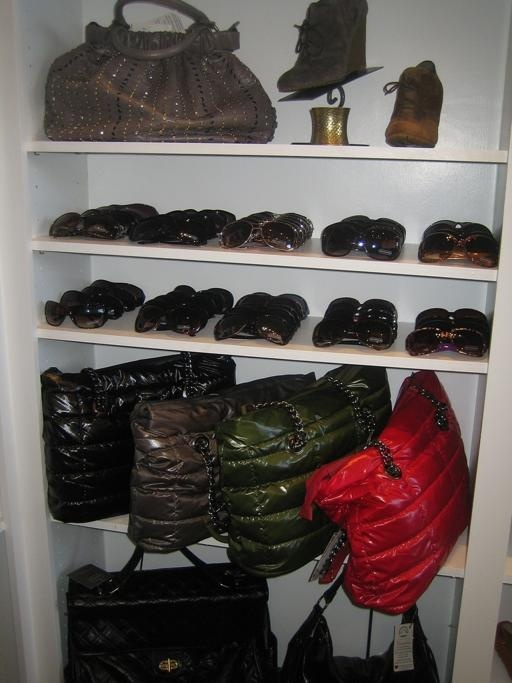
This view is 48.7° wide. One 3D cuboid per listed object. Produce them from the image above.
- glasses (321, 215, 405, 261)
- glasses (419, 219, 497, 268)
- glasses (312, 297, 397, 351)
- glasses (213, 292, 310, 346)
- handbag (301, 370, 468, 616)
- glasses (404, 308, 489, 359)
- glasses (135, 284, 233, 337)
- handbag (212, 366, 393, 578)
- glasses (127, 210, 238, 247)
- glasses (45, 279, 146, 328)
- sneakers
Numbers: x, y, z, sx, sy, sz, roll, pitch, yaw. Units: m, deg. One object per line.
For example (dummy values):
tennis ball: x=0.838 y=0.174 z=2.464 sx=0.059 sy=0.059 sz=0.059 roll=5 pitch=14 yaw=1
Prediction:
glasses: x=0.213 y=-0.202 z=1.096 sx=0.140 sy=0.070 sz=0.215 roll=5 pitch=15 yaw=15
glasses: x=0.375 y=-0.179 z=1.035 sx=0.130 sy=0.070 sz=0.160 roll=7 pitch=16 yaw=21
glasses: x=0.200 y=-0.064 z=1.121 sx=0.131 sy=0.045 sz=0.126 roll=2 pitch=29 yaw=20
glasses: x=0.016 y=-0.057 z=1.177 sx=0.118 sy=0.037 sz=0.145 roll=2 pitch=23 yaw=14
handbag: x=0.264 y=0.299 z=1.072 sx=0.218 sy=0.337 sz=0.369 roll=10 pitch=17 yaw=32
glasses: x=0.374 y=-0.019 z=1.088 sx=0.142 sy=0.068 sz=0.175 roll=7 pitch=16 yaw=22
glasses: x=-0.141 y=-0.088 z=1.220 sx=0.111 sy=0.043 sz=0.169 roll=9 pitch=23 yaw=20
handbag: x=0.094 y=0.254 z=1.171 sx=0.207 sy=0.335 sz=0.498 roll=17 pitch=20 yaw=39
glasses: x=-0.137 y=-0.228 z=1.154 sx=0.119 sy=0.042 sz=0.152 roll=10 pitch=10 yaw=34
glasses: x=-0.343 y=-0.076 z=1.254 sx=0.108 sy=0.043 sz=0.146 roll=3 pitch=21 yaw=13
sneakers: x=0.297 y=-0.435 z=1.081 sx=0.107 sy=0.183 sz=0.080 roll=9 pitch=-17 yaw=14
